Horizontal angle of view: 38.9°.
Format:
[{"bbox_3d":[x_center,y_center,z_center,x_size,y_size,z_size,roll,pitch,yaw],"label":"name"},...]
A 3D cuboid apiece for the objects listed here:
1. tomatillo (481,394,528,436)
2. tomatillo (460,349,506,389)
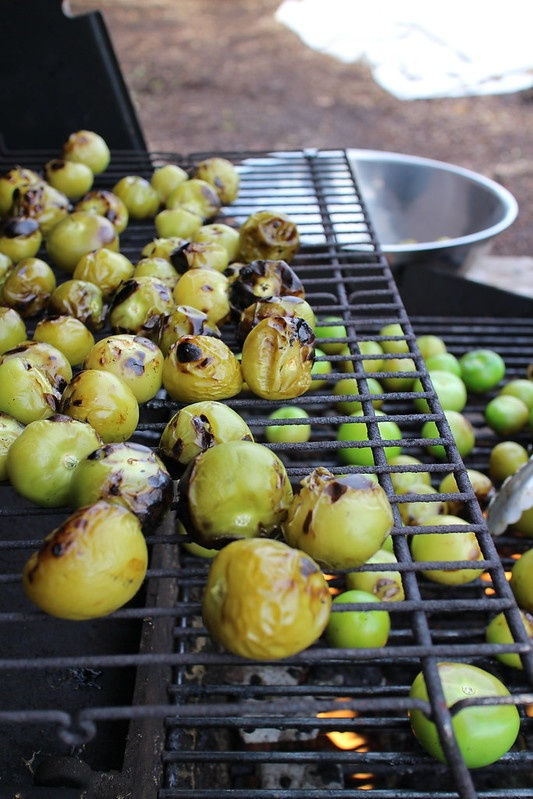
[{"bbox_3d":[0.647,0.046,2.105,0.111,0.102,0.119,-1,40,9],"label":"tomatillo"},{"bbox_3d":[0.620,-0.082,2.229,0.129,0.114,0.116,-7,29,-5],"label":"tomatillo"}]
